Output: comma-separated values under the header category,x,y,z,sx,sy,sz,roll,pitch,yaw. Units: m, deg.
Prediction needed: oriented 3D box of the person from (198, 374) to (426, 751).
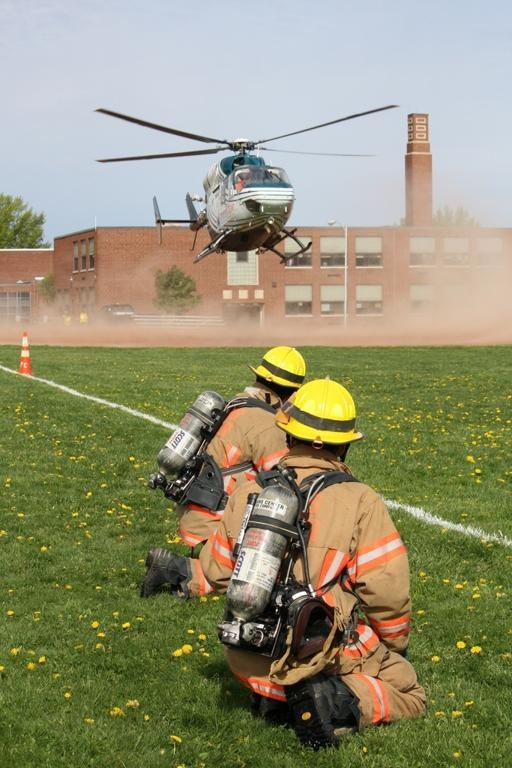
category,x,y,z,sx,sy,sz,roll,pitch,yaw
person,0.237,0.802,3.846,0.891,1.588,0.837,3,8,31

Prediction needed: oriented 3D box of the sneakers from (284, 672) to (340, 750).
category,x,y,z,sx,sy,sz,roll,pitch,yaw
sneakers,0.254,1.423,3.675,0.145,0.404,0.196,-15,-5,24

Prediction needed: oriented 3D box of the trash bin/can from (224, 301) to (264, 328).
category,x,y,z,sx,sy,sz,roll,pitch,yaw
trash bin/can,-1.103,-5.889,69.634,3.017,1.801,0.961,-5,8,-30

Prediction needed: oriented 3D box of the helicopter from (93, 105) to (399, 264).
category,x,y,z,sx,sy,sz,roll,pitch,yaw
helicopter,-0.806,-4.627,22.787,5.975,2.938,8.246,-1,-1,-17

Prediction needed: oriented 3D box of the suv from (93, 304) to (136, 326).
category,x,y,z,sx,sy,sz,roll,pitch,yaw
suv,-9.419,-4.786,57.410,1.648,1.253,3.017,-1,9,-24

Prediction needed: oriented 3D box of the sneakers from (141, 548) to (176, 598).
category,x,y,z,sx,sy,sz,roll,pitch,yaw
sneakers,-0.653,1.233,5.664,0.216,0.454,0.155,8,16,-4

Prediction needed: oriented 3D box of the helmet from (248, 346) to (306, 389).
category,x,y,z,sx,sy,sz,roll,pitch,yaw
helmet,0.203,-0.124,6.282,0.394,0.198,0.286,16,6,-30

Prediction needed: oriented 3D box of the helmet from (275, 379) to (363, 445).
category,x,y,z,sx,sy,sz,roll,pitch,yaw
helmet,0.310,0.137,4.062,0.315,0.193,0.366,12,12,-1
